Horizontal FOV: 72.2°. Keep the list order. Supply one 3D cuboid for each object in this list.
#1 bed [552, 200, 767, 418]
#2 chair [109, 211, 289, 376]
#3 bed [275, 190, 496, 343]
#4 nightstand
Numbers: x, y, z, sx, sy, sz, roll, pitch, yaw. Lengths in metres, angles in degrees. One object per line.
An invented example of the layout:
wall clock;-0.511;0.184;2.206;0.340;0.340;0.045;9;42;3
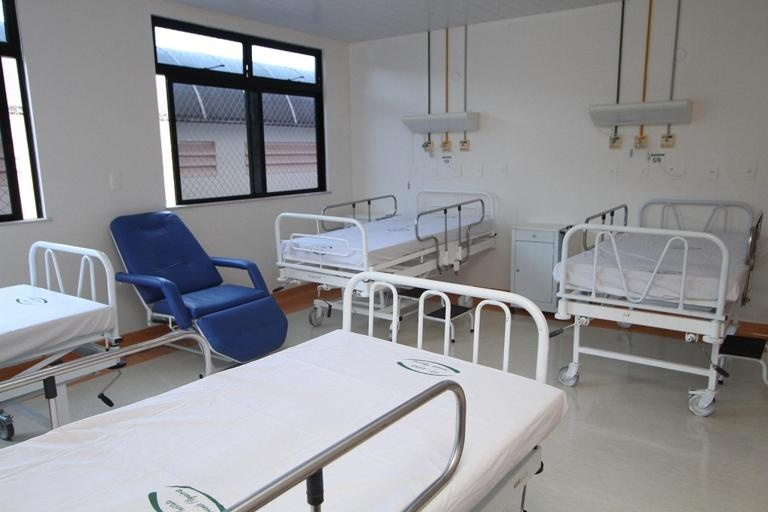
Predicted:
bed;2.493;0.224;4.799;1.405;1.383;2.402;5;13;32
chair;-1.701;0.217;4.783;1.595;1.105;0.988;9;16;30
bed;0.118;-0.190;5.734;1.514;1.175;2.337;6;13;34
nightstand;1.782;0.151;5.895;0.659;0.914;0.638;2;5;23
